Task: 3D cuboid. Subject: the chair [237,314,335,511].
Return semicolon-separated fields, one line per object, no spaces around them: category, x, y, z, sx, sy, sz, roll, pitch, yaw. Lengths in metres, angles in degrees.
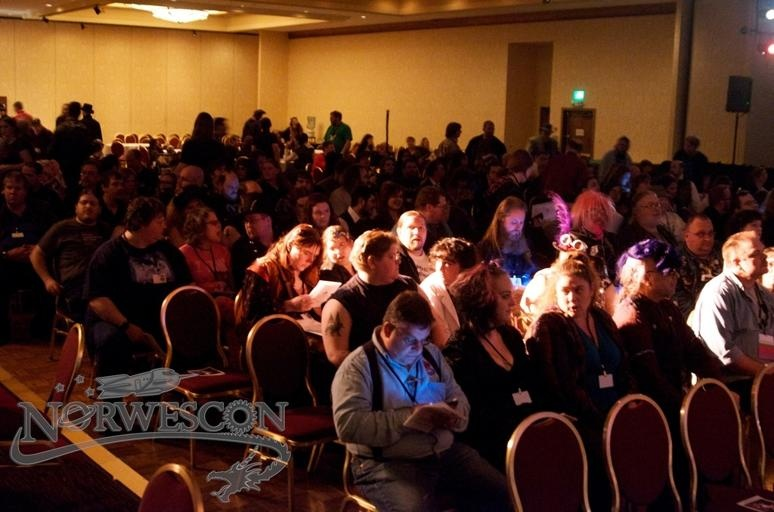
chair;-0.668;1.018;3.840;0.571;1.159;0.644;5;4;-15

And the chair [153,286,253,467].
chair;-1.415;0.879;4.559;0.646;1.220;0.765;3;5;-36
